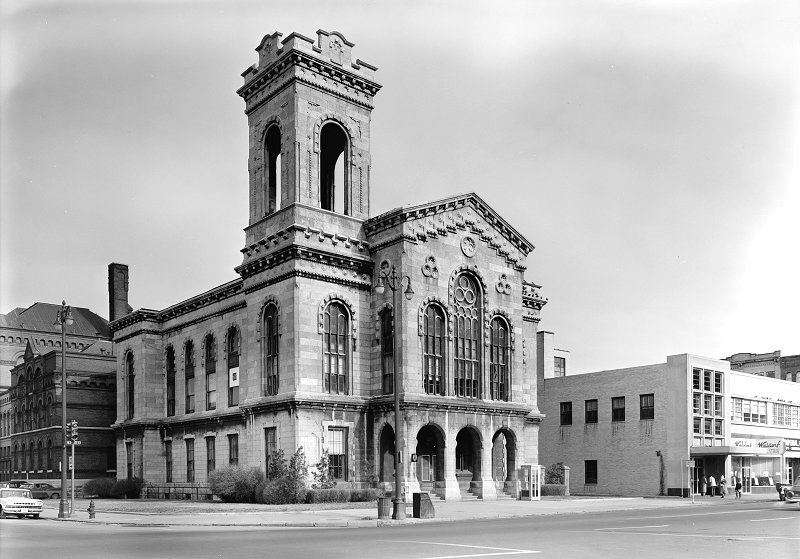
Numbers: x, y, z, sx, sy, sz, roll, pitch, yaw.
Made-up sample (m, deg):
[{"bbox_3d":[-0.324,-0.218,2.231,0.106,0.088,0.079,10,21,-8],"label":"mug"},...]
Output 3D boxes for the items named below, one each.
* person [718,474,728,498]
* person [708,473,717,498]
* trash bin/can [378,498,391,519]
[{"bbox_3d":[28.101,17.968,106.013,0.583,1.921,1.347,-8,-17,22],"label":"person"},{"bbox_3d":[27.068,17.952,105.544,0.635,1.851,1.436,-7,-17,19],"label":"person"},{"bbox_3d":[-0.873,14.483,77.005,0.861,1.551,1.045,-1,-16,-3],"label":"trash bin/can"}]
